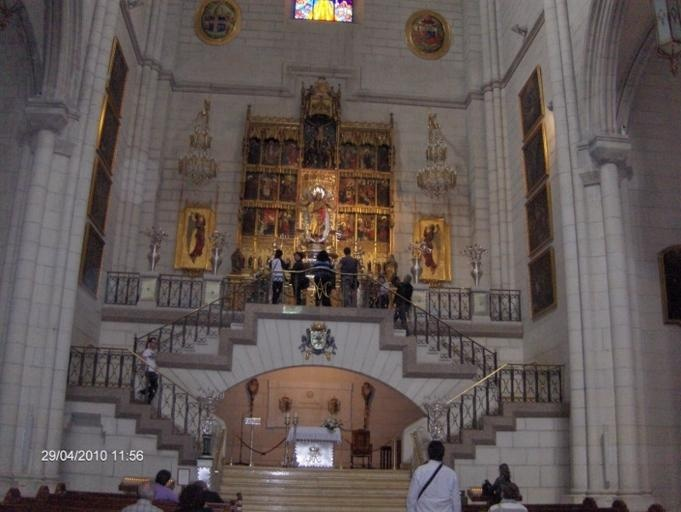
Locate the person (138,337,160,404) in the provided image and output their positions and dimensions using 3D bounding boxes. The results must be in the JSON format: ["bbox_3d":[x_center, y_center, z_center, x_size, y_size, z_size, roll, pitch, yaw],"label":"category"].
[{"bbox_3d":[-4.283,2.569,17.746,0.429,1.629,0.928,6,-21,-13],"label":"person"}]

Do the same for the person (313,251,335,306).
[{"bbox_3d":[-0.397,0.558,19.431,0.500,1.668,0.732,2,-20,-2],"label":"person"}]

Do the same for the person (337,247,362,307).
[{"bbox_3d":[0.198,0.612,19.595,0.476,1.532,0.821,1,-20,0],"label":"person"}]

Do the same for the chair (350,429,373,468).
[{"bbox_3d":[0.556,5.225,21.332,0.706,1.391,0.797,1,-36,2],"label":"chair"}]
